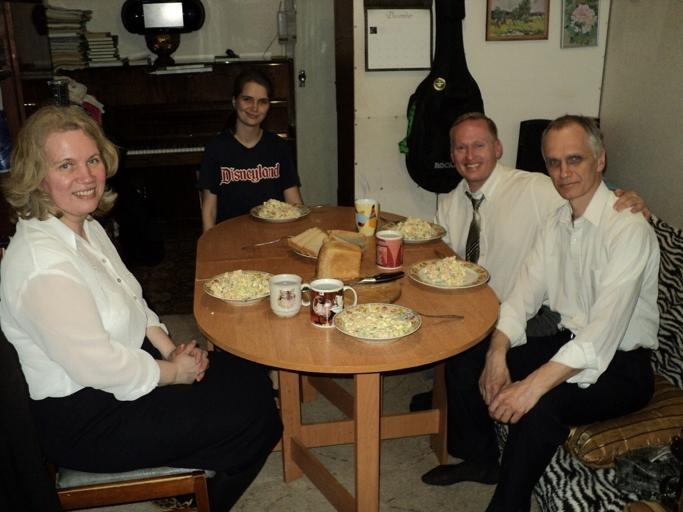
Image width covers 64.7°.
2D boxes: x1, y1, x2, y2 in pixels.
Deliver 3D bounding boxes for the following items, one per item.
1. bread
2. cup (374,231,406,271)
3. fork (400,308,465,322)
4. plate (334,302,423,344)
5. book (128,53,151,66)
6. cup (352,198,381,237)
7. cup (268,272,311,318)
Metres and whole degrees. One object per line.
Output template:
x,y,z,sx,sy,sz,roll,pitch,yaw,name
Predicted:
-0.047,-0.008,2.326,0.265,0.098,0.265,-1,17,-24,bread
0.215,-0.026,2.490,0.143,0.165,0.152,-1,26,1,cup
0.340,0.221,2.027,0.319,0.045,0.027,3,3,-2,fork
0.132,0.239,1.945,0.280,0.061,0.269,11,24,37,plate
-2.079,-2.025,5.543,0.229,0.118,0.205,-9,19,-14,book
0.147,-0.205,2.824,0.185,0.184,0.120,-5,8,-34,cup
-0.201,0.153,2.068,0.166,0.128,0.110,0,11,-7,cup
